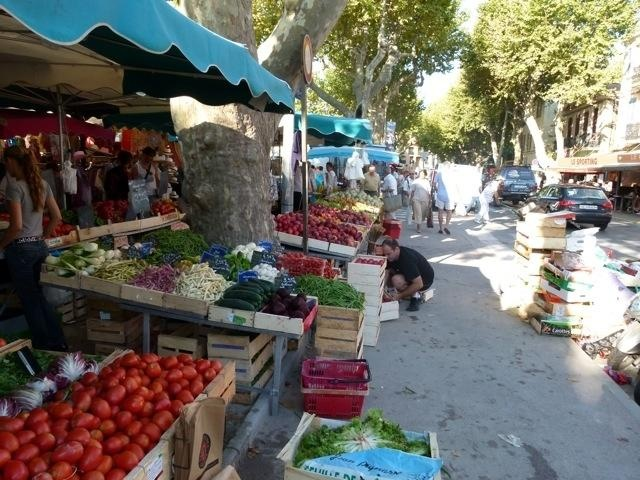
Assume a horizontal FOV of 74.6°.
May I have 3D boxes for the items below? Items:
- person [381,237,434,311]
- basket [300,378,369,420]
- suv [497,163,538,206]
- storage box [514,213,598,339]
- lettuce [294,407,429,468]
[{"bbox_3d":[1.479,0.571,7.623,0.864,1.310,0.909,5,13,-8],"label":"person"},{"bbox_3d":[0.148,1.569,4.414,0.614,0.480,0.478,3,12,2],"label":"basket"},{"bbox_3d":[13.410,-3.998,28.780,1.981,2.290,4.903,1,2,15],"label":"suv"},{"bbox_3d":[3.890,0.465,6.927,1.172,1.783,1.741,7,13,28],"label":"storage box"},{"bbox_3d":[0.289,1.421,3.038,0.974,0.132,0.410,0,11,-7],"label":"lettuce"}]
